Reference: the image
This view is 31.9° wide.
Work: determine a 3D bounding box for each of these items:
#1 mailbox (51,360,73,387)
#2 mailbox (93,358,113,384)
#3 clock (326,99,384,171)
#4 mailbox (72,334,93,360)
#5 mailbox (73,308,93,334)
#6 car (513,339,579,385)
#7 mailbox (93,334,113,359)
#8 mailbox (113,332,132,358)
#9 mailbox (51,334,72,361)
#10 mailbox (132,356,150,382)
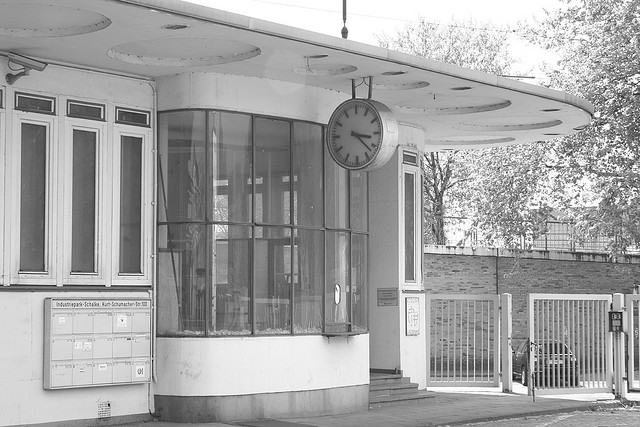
[{"bbox_3d":[-5.557,3.414,23.998,0.308,0.517,0.563,-4,-8,32],"label":"mailbox"},{"bbox_3d":[-4.719,3.513,24.689,0.575,0.516,0.330,-5,-13,19],"label":"mailbox"},{"bbox_3d":[0.824,-1.790,25.517,1.497,1.664,0.464,13,13,40],"label":"clock"},{"bbox_3d":[-5.250,2.933,24.480,0.566,0.517,0.281,0,-3,-10],"label":"mailbox"},{"bbox_3d":[-5.127,2.404,24.499,0.545,0.495,0.282,-1,-8,-11],"label":"mailbox"},{"bbox_3d":[6.347,4.184,31.073,1.326,0.950,2.878,1,-2,-3],"label":"car"},{"bbox_3d":[-4.784,2.900,24.582,0.280,0.510,0.550,-5,-6,42],"label":"mailbox"},{"bbox_3d":[-4.398,2.904,24.778,0.557,0.554,0.302,3,-7,-36],"label":"mailbox"},{"bbox_3d":[-5.565,2.863,24.038,0.301,0.512,0.564,-6,-8,35],"label":"mailbox"},{"bbox_3d":[-4.010,3.441,24.935,0.533,0.532,0.304,9,-2,-38],"label":"mailbox"}]
